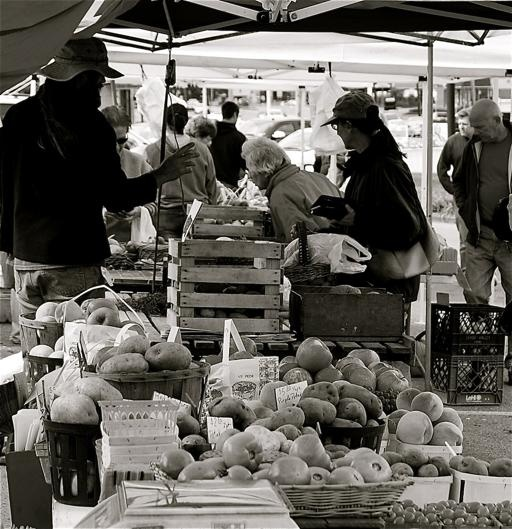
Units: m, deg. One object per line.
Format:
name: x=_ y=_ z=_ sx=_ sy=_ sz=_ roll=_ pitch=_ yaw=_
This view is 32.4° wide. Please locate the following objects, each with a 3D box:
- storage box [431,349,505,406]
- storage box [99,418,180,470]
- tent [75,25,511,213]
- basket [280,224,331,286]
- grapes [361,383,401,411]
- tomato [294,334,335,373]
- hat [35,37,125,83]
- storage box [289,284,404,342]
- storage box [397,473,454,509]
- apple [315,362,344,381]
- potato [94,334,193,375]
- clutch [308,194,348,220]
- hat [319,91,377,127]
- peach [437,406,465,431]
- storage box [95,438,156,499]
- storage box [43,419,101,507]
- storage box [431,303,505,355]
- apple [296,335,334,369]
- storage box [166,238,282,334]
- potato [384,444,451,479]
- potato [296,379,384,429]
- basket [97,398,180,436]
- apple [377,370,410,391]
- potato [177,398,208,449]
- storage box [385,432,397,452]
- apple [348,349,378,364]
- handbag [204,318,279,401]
storage box: x=1.592 y=0.851 z=6.534 sx=0.390 sy=0.286 sz=0.414 roll=0 pitch=0 yaw=3
storage box: x=-0.339 y=0.528 z=2.627 sx=0.172 sy=0.071 sz=0.139 roll=2 pitch=4 yaw=-6
tent: x=0.468 y=-1.465 z=8.643 sx=2.751 sy=1.197 sz=2.820 roll=-5 pitch=13 yaw=-25
basket: x=0.305 y=-0.049 z=5.173 sx=0.306 sy=0.345 sz=0.235 roll=-7 pitch=-1 yaw=7
grapes: x=0.503 y=0.521 z=3.493 sx=0.093 sy=0.073 sz=0.046 roll=14 pitch=50 yaw=29
tomato: x=0.232 y=0.366 z=3.562 sx=0.137 sy=0.130 sz=0.137 roll=15 pitch=-30 yaw=-27
hat: x=-0.862 y=-0.986 z=4.272 sx=0.272 sy=0.153 sz=0.261 roll=1 pitch=5 yaw=-33
storage box: x=0.501 y=0.268 z=4.851 sx=0.623 sy=0.301 sz=0.313 roll=0 pitch=-1 yaw=2
storage box: x=0.601 y=0.797 z=3.154 sx=0.180 sy=0.128 sz=0.130 roll=2 pitch=-6 yaw=-7
apple: x=0.285 y=0.420 z=3.441 sx=0.070 sy=0.060 sz=0.055 roll=0 pitch=-7 yaw=-8
potato: x=-0.380 y=0.322 z=3.055 sx=0.212 sy=0.096 sz=0.161 roll=4 pitch=-10 yaw=-42
clutch: x=0.487 y=-0.365 z=5.739 sx=0.157 sy=0.152 sz=0.325 roll=-1 pitch=-1 yaw=31
hat: x=0.633 y=-1.084 z=6.047 sx=0.374 sy=0.206 sz=0.270 roll=0 pitch=11 yaw=41
peach: x=0.757 y=0.597 z=3.460 sx=0.083 sy=0.090 sz=0.105 roll=4 pitch=-41 yaw=40
storage box: x=-0.375 y=0.592 z=2.547 sx=0.180 sy=0.069 sz=0.147 roll=-4 pitch=14 yaw=-9
storage box: x=-0.612 y=0.638 z=2.891 sx=0.186 sy=0.216 sz=0.190 roll=1 pitch=-8 yaw=-14
storage box: x=1.550 y=0.479 z=6.618 sx=0.427 sy=0.310 sz=0.452 roll=0 pitch=3 yaw=-4
apple: x=0.236 y=0.374 z=3.556 sx=0.145 sy=0.130 sz=0.151 roll=-9 pitch=-25 yaw=34
storage box: x=-0.191 y=0.125 z=5.202 sx=0.764 sy=0.538 sz=0.817 roll=2 pitch=1 yaw=15
potato: x=0.572 y=0.694 z=3.105 sx=0.135 sy=0.086 sz=0.199 roll=1 pitch=0 yaw=1
potato: x=0.313 y=0.501 z=3.164 sx=0.163 sy=0.097 sz=0.226 roll=2 pitch=-4 yaw=26
basket: x=-0.352 y=0.448 z=2.686 sx=0.175 sy=0.094 sz=0.120 roll=0 pitch=0 yaw=-7
apple: x=0.557 y=0.470 z=3.578 sx=0.083 sy=0.089 sz=0.087 roll=-1 pitch=23 yaw=-8
potato: x=-0.216 y=0.534 z=2.994 sx=0.101 sy=0.126 sz=0.304 roll=0 pitch=-1 yaw=-5
storage box: x=0.505 y=0.659 z=3.280 sx=0.048 sy=0.094 sz=0.048 roll=2 pitch=5 yaw=15
apple: x=0.486 y=0.405 z=3.928 sx=0.074 sy=0.050 sz=0.076 roll=-4 pitch=5 yaw=-25
handbag: x=-0.029 y=0.374 z=3.489 sx=0.199 sy=0.322 sz=0.166 roll=-3 pitch=-2 yaw=1
